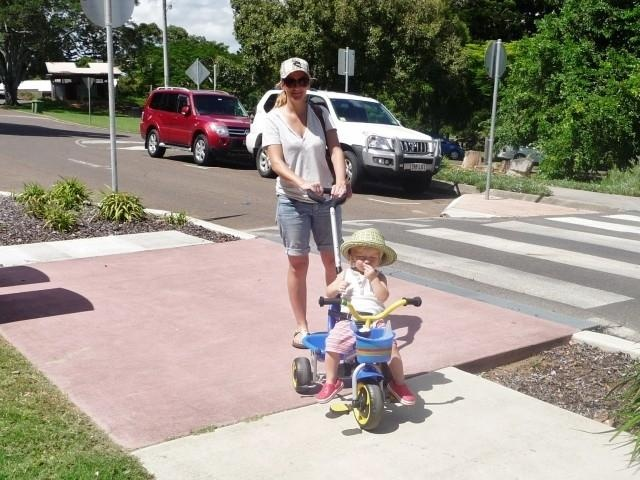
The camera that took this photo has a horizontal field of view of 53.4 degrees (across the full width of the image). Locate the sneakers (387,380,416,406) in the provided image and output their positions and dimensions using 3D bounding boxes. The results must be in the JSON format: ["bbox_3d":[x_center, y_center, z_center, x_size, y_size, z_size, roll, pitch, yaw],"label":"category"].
[{"bbox_3d":[0.557,1.069,4.437,0.109,0.088,0.218,-7,17,-33],"label":"sneakers"}]

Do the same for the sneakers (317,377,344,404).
[{"bbox_3d":[0.064,1.057,4.444,0.255,0.099,0.096,-27,22,-39],"label":"sneakers"}]

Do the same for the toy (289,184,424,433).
[{"bbox_3d":[0.242,0.470,4.481,0.831,1.470,1.098,1,13,-5],"label":"toy"}]

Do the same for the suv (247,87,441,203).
[{"bbox_3d":[0.555,-2.728,17.041,2.682,2.369,5.679,-6,13,-41],"label":"suv"}]

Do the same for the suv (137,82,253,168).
[{"bbox_3d":[-3.941,-3.830,20.738,2.309,1.943,4.090,-7,13,-40],"label":"suv"}]

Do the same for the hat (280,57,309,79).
[{"bbox_3d":[-0.214,-1.358,5.004,0.167,0.120,0.223,-1,16,-8],"label":"hat"}]

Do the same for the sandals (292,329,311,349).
[{"bbox_3d":[-0.161,0.840,5.277,0.116,0.111,0.288,0,-1,-4],"label":"sandals"}]
